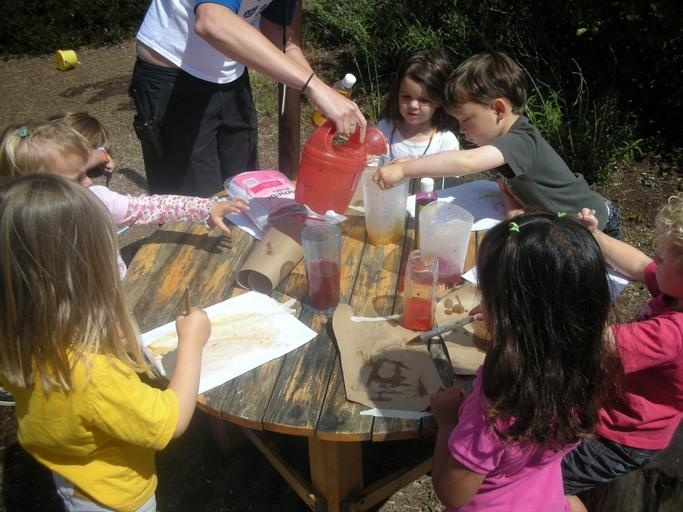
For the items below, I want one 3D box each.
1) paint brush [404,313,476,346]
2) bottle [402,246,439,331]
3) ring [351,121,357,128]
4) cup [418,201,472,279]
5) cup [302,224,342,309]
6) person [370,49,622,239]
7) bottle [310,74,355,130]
[{"bbox_3d":[0.320,0.248,1.765,0.227,0.026,0.025,-21,-1,-24],"label":"paint brush"},{"bbox_3d":[0.263,0.123,1.820,0.122,0.257,0.101,19,31,31],"label":"bottle"},{"bbox_3d":[0.049,-0.517,2.108,0.019,0.019,0.019,1,4,0],"label":"ring"},{"bbox_3d":[0.388,-0.065,2.030,0.215,0.254,0.214,3,22,-1],"label":"cup"},{"bbox_3d":[-0.081,0.033,1.940,0.138,0.264,0.220,-5,24,-21],"label":"cup"},{"bbox_3d":[0.659,-0.588,2.799,1.068,1.227,0.720,-19,25,4],"label":"person"},{"bbox_3d":[-0.031,-0.703,2.597,0.136,0.349,0.166,-8,4,20],"label":"bottle"}]
